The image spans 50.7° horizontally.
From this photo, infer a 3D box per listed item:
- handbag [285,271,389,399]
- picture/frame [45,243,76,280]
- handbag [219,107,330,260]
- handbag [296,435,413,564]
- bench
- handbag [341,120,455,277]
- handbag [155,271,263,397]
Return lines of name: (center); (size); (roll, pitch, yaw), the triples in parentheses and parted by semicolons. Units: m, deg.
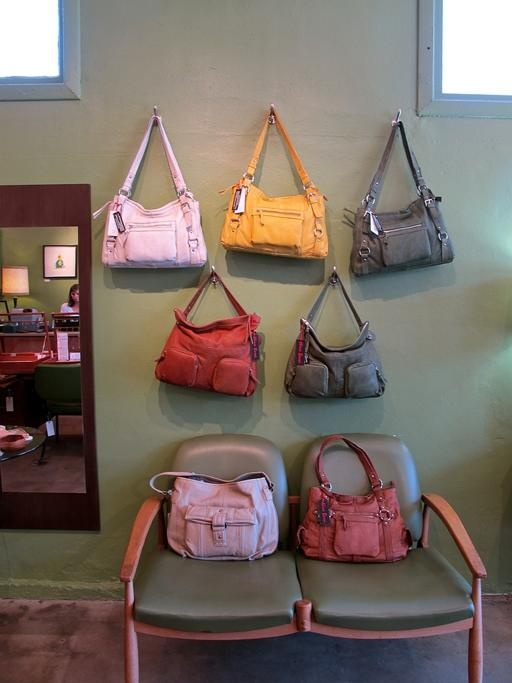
handbag: (0.313, -0.022, 2.153); (0.368, 0.608, 0.138); (-1, -23, 8)
picture/frame: (-0.795, -0.331, 2.198); (0.119, 0.157, 0.006); (1, 3, -6)
handbag: (0.077, -0.656, 2.166); (0.398, 0.798, 0.129); (4, -26, -2)
handbag: (0.373, 0.599, 2.039); (0.363, 0.518, 0.221); (0, -24, 6)
bench: (0.142, 0.787, 1.915); (1.107, 0.748, 0.615); (0, 11, -1)
handbag: (0.561, -0.586, 2.150); (0.396, 0.743, 0.137); (-5, -18, 12)
handbag: (-0.187, -0.029, 2.137); (0.381, 0.572, 0.192); (6, -16, -4)
